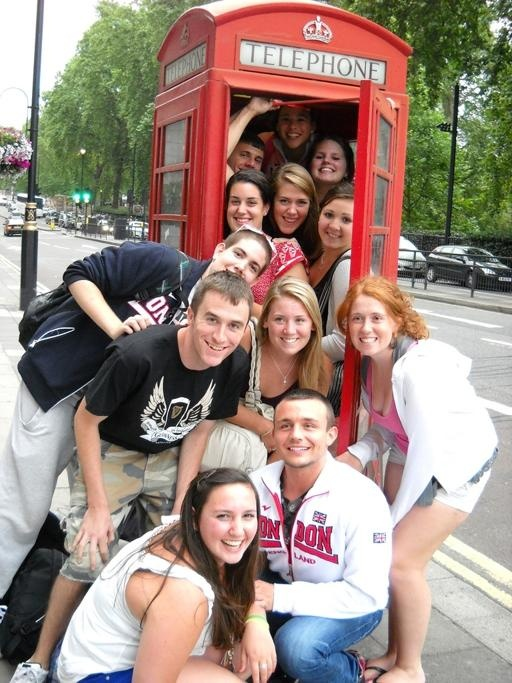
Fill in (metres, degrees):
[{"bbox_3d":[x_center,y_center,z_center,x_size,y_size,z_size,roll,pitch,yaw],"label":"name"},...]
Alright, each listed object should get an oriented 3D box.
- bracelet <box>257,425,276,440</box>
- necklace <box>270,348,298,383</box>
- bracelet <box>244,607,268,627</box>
[{"bbox_3d":[0.062,0.464,2.944,0.050,0.058,0.023,-8,47,-49],"label":"bracelet"},{"bbox_3d":[0.159,0.134,3.044,0.111,0.147,0.037,8,5,-6],"label":"necklace"},{"bbox_3d":[0.001,1.009,2.105,0.056,0.062,0.072,2,-1,9],"label":"bracelet"}]
